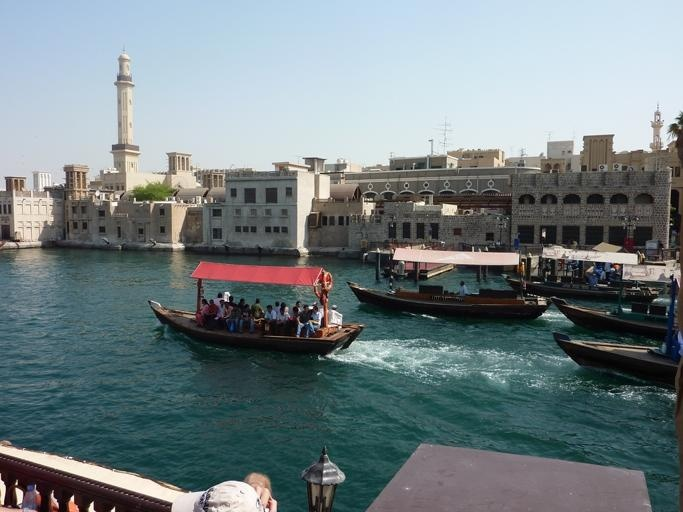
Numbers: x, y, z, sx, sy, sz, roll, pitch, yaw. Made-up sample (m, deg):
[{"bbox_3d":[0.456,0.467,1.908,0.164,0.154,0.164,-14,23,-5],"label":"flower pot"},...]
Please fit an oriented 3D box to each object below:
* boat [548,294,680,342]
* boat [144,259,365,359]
[{"bbox_3d":[14.108,3.352,37.600,5.959,1.703,3.779,3,5,45],"label":"boat"},{"bbox_3d":[-4.044,2.587,36.936,10.437,4.112,8.306,-1,5,-18],"label":"boat"}]
